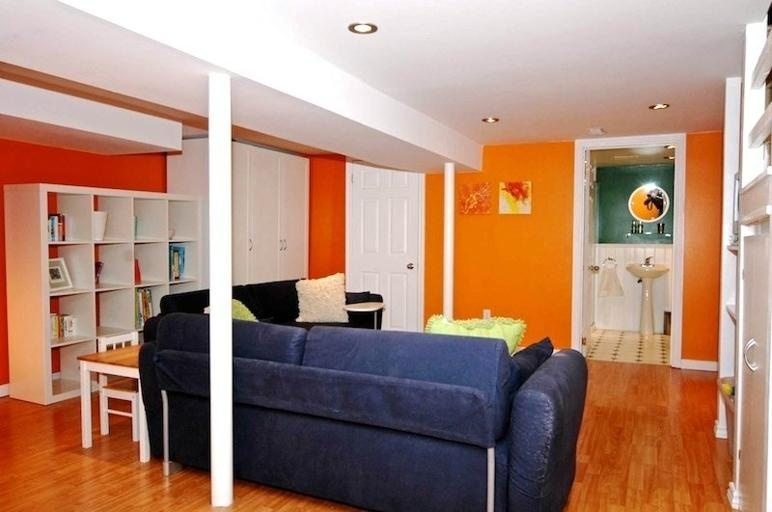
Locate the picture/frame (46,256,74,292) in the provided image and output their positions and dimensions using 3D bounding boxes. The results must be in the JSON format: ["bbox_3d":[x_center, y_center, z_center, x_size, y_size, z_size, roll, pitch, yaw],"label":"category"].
[{"bbox_3d":[-3.344,0.196,5.673,0.061,0.285,0.275,-13,-5,34],"label":"picture/frame"}]

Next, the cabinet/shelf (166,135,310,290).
[{"bbox_3d":[-1.787,-0.508,6.483,0.680,1.789,1.970,0,1,31],"label":"cabinet/shelf"}]

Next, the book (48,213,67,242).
[{"bbox_3d":[-3.338,-0.286,5.635,0.147,0.297,0.335,0,-1,-29],"label":"book"}]

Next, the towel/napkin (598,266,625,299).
[{"bbox_3d":[3.647,0.439,9.010,0.537,0.692,0.054,0,4,29],"label":"towel/napkin"}]

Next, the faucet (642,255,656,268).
[{"bbox_3d":[4.110,0.095,8.806,0.187,0.236,0.172,8,1,17],"label":"faucet"}]

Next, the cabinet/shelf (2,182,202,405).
[{"bbox_3d":[-2.914,0.395,5.496,0.652,2.178,2.409,0,0,26],"label":"cabinet/shelf"}]

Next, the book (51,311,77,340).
[{"bbox_3d":[-3.322,0.729,5.722,0.094,0.249,0.253,0,-2,25],"label":"book"}]
